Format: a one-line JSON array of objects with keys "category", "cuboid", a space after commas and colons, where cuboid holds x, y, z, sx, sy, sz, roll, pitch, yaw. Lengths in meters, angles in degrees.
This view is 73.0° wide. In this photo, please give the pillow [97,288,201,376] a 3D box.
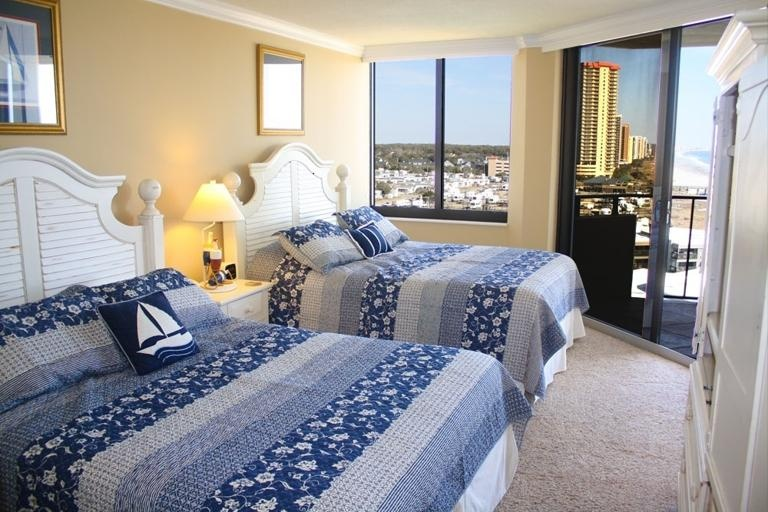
[{"category": "pillow", "cuboid": [-1.377, 0.447, 3.045, 0.338, 0.382, 0.404, 9, 16, 39]}]

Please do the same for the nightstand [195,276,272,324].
[{"category": "nightstand", "cuboid": [-1.170, 0.340, 4.176, 0.395, 0.490, 0.534, 6, 13, 22]}]
